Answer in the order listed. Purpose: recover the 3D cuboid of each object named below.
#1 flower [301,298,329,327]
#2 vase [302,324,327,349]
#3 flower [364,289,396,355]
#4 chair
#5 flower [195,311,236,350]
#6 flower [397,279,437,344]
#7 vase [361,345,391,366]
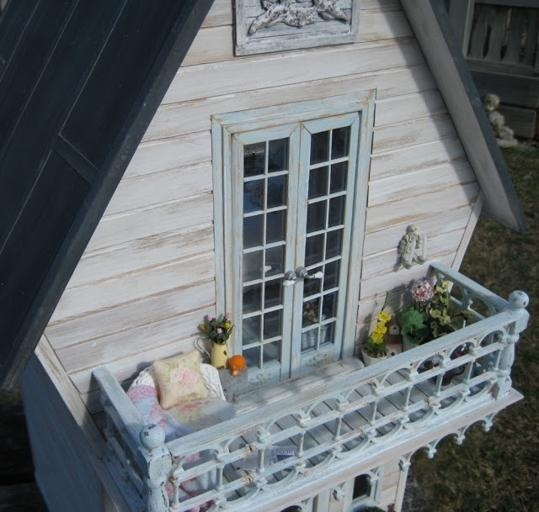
[{"bbox_3d":[0.369,0.504,5.673,0.210,0.208,0.050,-11,3,-6],"label":"flower"},{"bbox_3d":[0.394,0.723,5.808,0.235,0.226,0.128,-2,18,-17],"label":"vase"},{"bbox_3d":[1.010,0.647,6.028,0.266,0.557,0.447,0,24,13],"label":"flower"},{"bbox_3d":[-0.622,1.333,4.903,0.757,0.941,0.938,-12,24,-15],"label":"chair"},{"bbox_3d":[-0.419,0.607,5.177,0.235,0.257,0.259,11,42,28],"label":"flower"},{"bbox_3d":[1.374,0.515,5.971,0.276,0.593,0.244,-17,46,-11],"label":"flower"},{"bbox_3d":[1.007,0.937,6.029,0.308,0.139,0.321,-1,24,10],"label":"vase"}]
